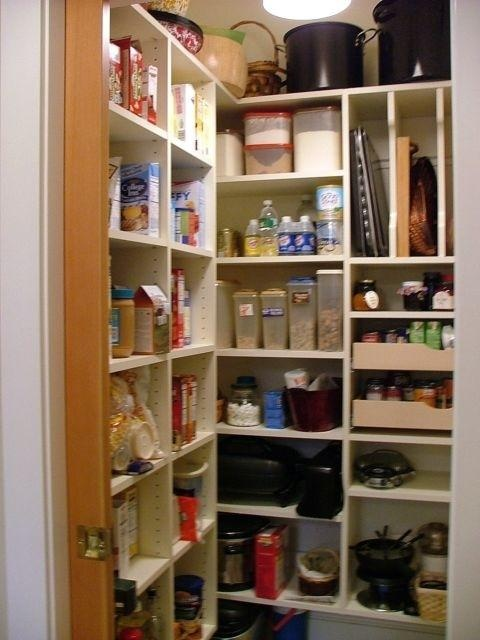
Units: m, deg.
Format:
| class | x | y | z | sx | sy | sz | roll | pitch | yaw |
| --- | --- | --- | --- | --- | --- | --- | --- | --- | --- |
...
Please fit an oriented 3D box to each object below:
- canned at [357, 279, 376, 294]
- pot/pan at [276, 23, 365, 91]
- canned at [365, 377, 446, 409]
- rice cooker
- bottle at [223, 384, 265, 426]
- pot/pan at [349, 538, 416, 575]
| class | x | y | z | sx | sy | sz | roll | pitch | yaw |
| --- | --- | --- | --- | --- | --- | --- | --- | --- | --- |
| canned | 0.427 | -0.111 | 2.079 | 0.048 | 0.042 | 0.050 | -3 | -4 | 44 |
| pot/pan | 0.283 | -0.877 | 2.081 | 0.262 | 0.218 | 0.102 | -2 | 3 | 6 |
| canned | 0.573 | 0.227 | 2.064 | 0.232 | 0.093 | 0.171 | 0 | 5 | 23 |
| rice cooker | 0.008 | 0.823 | 2.271 | 0.214 | 0.231 | 0.277 | 1 | -1 | 0 |
| bottle | 0.014 | 0.317 | 2.210 | 0.113 | 0.150 | 0.128 | 2 | 7 | 23 |
| pot/pan | 0.482 | 0.791 | 2.153 | 0.247 | 0.103 | 0.246 | -3 | 0 | 14 |
